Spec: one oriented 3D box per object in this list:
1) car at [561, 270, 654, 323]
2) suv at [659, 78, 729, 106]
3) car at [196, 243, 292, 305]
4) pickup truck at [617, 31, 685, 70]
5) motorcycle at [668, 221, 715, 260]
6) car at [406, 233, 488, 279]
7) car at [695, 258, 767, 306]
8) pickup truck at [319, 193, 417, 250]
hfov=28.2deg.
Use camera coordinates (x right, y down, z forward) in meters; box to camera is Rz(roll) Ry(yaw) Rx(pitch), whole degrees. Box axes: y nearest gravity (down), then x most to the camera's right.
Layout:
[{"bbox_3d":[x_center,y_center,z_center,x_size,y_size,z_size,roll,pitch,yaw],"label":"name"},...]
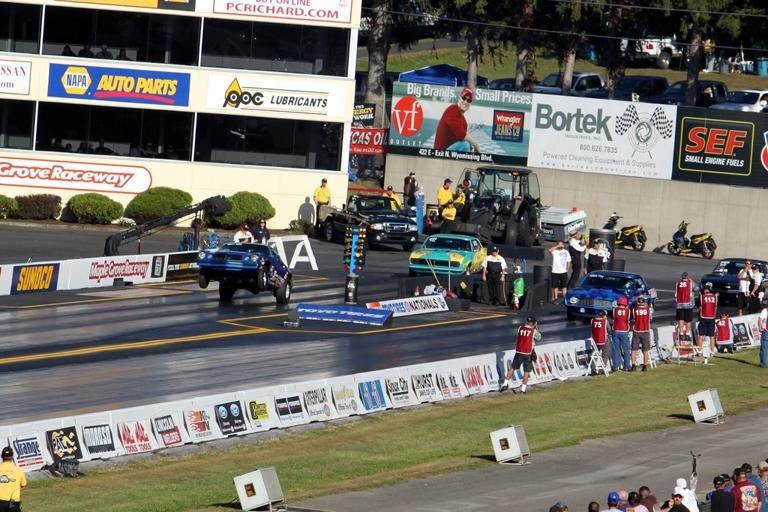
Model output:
[{"bbox_3d":[8.774,1.630,59.490,3.348,1.741,2.028,-6,8,-30],"label":"car"},{"bbox_3d":[17.118,-9.008,84.184,2.034,1.586,3.377,9,11,43],"label":"suv"},{"bbox_3d":[-5.186,0.569,58.392,2.083,1.498,3.262,2,-12,19],"label":"car"},{"bbox_3d":[17.861,-13.130,98.244,5.294,1.840,2.848,-8,13,-41],"label":"pickup truck"},{"bbox_3d":[14.887,-0.578,73.606,2.523,1.723,1.253,8,4,24],"label":"motorcycle"},{"bbox_3d":[2.696,0.031,63.084,2.074,1.541,2.840,4,9,37],"label":"car"},{"bbox_3d":[14.474,1.226,63.881,1.886,1.416,3.329,3,5,33],"label":"car"},{"bbox_3d":[-0.589,-1.604,70.017,3.029,2.270,5.467,1,8,-26],"label":"pickup truck"}]
